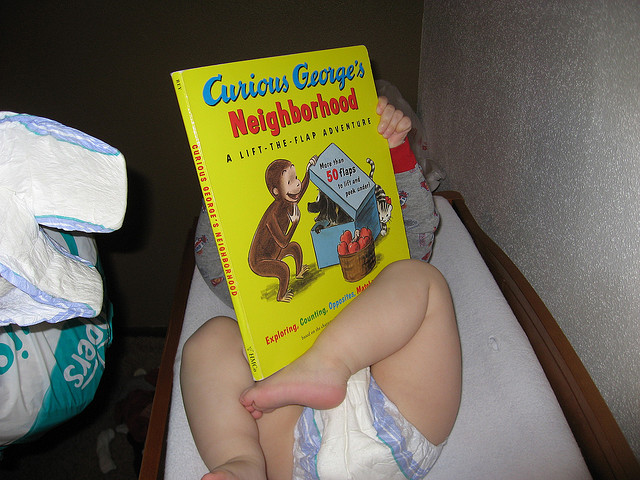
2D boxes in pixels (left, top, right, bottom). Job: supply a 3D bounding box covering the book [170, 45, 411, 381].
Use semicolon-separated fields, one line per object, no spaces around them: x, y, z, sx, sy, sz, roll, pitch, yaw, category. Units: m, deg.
-0.014;-0.079;0.911;0.460;0.430;0.378;-28;61;-13;book
